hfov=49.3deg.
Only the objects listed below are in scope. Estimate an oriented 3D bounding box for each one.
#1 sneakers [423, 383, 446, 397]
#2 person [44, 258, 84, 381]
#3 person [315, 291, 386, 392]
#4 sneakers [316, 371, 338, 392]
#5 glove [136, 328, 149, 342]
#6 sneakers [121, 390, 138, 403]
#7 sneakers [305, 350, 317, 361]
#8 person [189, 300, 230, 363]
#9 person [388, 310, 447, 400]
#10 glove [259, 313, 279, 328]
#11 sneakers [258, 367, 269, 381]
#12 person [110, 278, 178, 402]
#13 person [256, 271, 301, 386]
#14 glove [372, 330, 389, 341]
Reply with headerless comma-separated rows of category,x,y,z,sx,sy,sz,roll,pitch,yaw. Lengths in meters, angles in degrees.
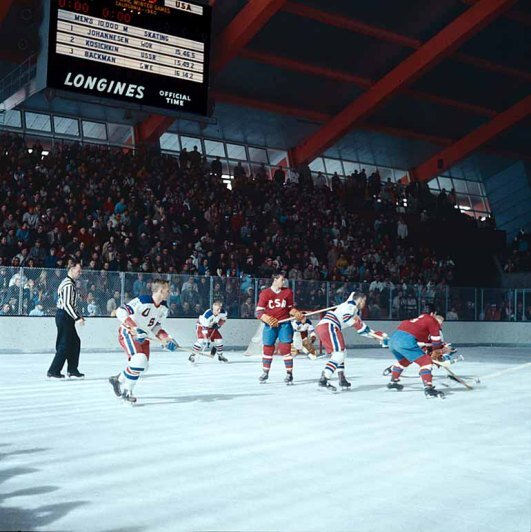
sneakers,2.023,1.488,6.902,0.260,0.153,0.122,-1,1,-7
person,-2.723,0.755,7.999,0.488,1.628,0.770,3,-7,-19
person,0.994,0.972,7.573,0.951,1.270,0.533,6,-8,-37
sneakers,0.765,1.448,7.211,0.211,0.236,0.267,0,-7,5
glove,-1.254,0.693,5.794,0.096,0.109,0.126,32,8,26
sneakers,-1.392,1.337,5.921,0.155,0.064,0.095,18,-38,30
sneakers,0.979,1.937,12.516,0.290,0.122,0.102,44,14,32
person,-1.190,1.365,12.110,0.691,1.330,0.846,12,11,41
person,1.967,1.132,7.634,0.713,1.028,1.515,-1,-7,16
glove,0.048,0.746,7.920,0.143,0.082,0.210,31,-4,26
sneakers,-0.028,1.589,8.372,0.110,0.140,0.317,-2,-9,11
person,-1.310,0.806,6.185,0.649,1.256,1.051,3,-7,-15
person,0.168,0.853,8.081,0.675,1.551,0.588,-3,-1,21
glove,1.528,0.936,7.737,0.186,0.131,0.092,14,2,-5
